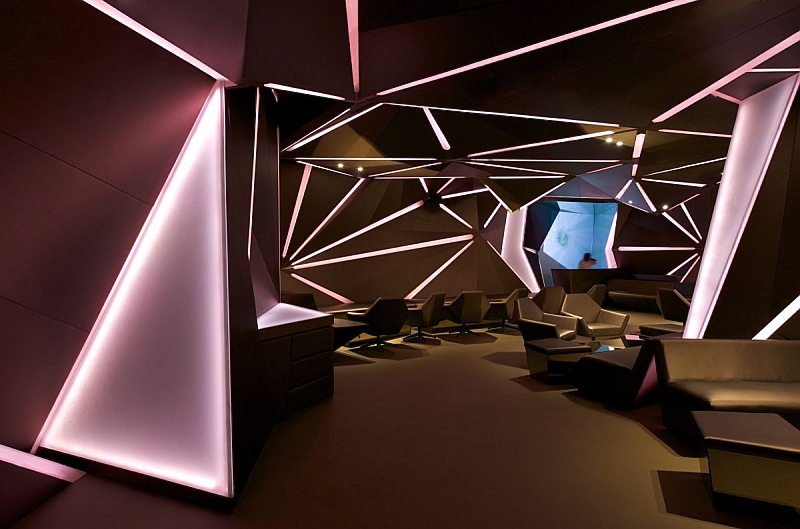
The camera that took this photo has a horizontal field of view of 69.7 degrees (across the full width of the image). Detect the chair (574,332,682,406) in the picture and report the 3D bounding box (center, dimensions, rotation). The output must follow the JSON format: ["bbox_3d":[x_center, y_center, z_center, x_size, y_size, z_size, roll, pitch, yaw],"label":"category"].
[{"bbox_3d":[2.889,1.229,7.280,0.976,0.640,0.951,0,-3,-33],"label":"chair"}]

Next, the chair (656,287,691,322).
[{"bbox_3d":[5.320,0.802,11.268,0.410,0.601,0.900,3,0,11],"label":"chair"}]
